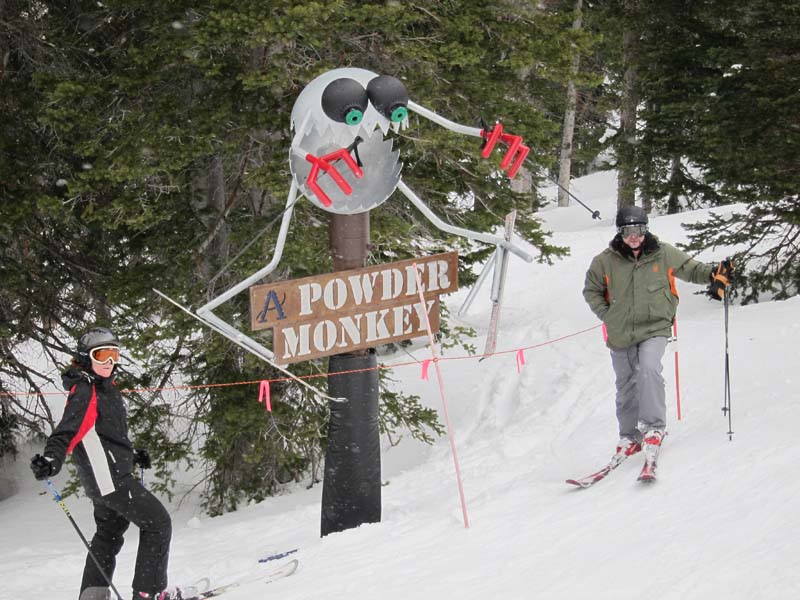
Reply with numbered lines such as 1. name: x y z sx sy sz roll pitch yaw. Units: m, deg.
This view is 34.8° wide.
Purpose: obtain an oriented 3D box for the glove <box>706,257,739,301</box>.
1. glove: 4.456 -0.281 17.737 0.238 0.608 0.373 27 3 32

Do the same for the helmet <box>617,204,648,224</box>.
1. helmet: 2.803 -1.045 15.626 0.210 0.266 0.311 0 14 18

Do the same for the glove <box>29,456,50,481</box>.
1. glove: -3.994 1.838 14.234 0.186 0.288 0.097 -13 1 -12
